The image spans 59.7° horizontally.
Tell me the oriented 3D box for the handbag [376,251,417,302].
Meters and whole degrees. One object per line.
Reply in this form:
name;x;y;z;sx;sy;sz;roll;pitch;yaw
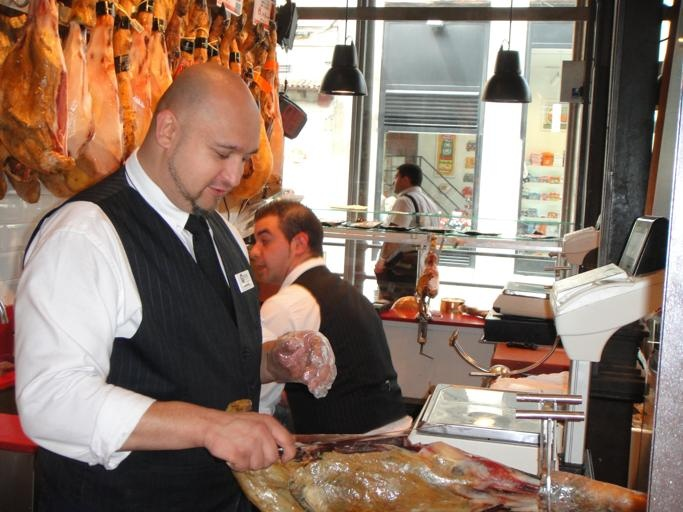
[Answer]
handbag;0.528;0.178;5.526;0.327;0.469;0.152;8;10;23

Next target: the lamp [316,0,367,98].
lamp;0.014;-1.530;4.755;0.355;0.472;0.239;1;3;-8

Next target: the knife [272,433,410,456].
knife;0.032;0.454;1.460;0.290;0.023;0.140;1;3;-4

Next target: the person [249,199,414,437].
person;-0.141;0.304;2.537;0.733;1.051;0.582;-12;-3;-2

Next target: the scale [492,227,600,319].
scale;1.092;0.063;3.449;0.615;0.541;0.370;6;13;-10

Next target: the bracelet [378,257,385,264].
bracelet;0.377;0.040;5.536;0.047;0.037;0.049;4;-4;-8

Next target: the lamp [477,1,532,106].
lamp;1.339;-1.490;4.824;0.368;0.492;0.251;2;3;11
